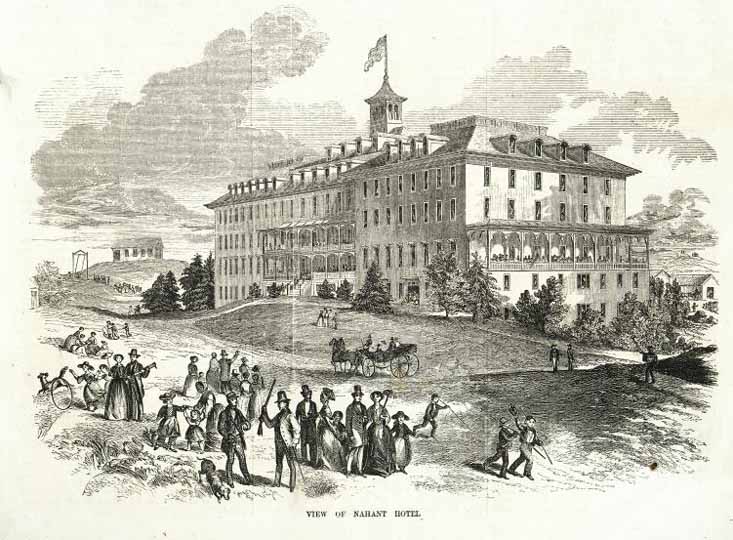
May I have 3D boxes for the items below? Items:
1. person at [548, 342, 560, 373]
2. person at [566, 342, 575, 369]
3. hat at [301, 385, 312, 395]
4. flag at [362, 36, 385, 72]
[{"bbox_3d":[6.100,2.825,28.904,0.342,0.934,0.598,3,0,12],"label":"person"},{"bbox_3d":[6.623,2.779,28.916,0.257,0.877,0.598,3,0,13],"label":"person"},{"bbox_3d":[-1.575,3.165,23.673,0.213,0.290,0.503,3,0,-6],"label":"hat"},{"bbox_3d":[0.380,-7.096,29.408,0.916,1.207,0.332,3,0,40],"label":"flag"}]
